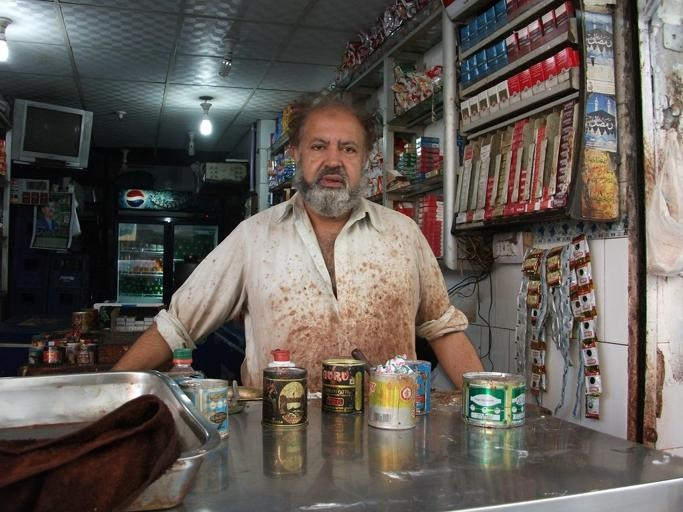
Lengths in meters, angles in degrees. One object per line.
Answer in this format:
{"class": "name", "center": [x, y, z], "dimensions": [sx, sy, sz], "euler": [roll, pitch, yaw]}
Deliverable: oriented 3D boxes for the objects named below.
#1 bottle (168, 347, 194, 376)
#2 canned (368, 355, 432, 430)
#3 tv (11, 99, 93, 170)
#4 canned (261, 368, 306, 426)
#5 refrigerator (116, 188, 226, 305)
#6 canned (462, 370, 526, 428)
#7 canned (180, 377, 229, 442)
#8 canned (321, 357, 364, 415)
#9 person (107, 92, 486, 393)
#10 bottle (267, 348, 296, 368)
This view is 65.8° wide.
{"class": "bottle", "center": [-0.488, 0.320, 1.617], "dimensions": [0.084, 0.098, 0.086], "euler": [1, -7, -6]}
{"class": "canned", "center": [0.210, 0.397, 1.492], "dimensions": [0.219, 0.195, 0.126], "euler": [9, -12, -39]}
{"class": "tv", "center": [-3.618, -1.524, 6.794], "dimensions": [0.931, 0.794, 0.500], "euler": [7, 3, -3]}
{"class": "canned", "center": [-0.161, 0.394, 1.481], "dimensions": [0.141, 0.157, 0.143], "euler": [-5, -8, 37]}
{"class": "refrigerator", "center": [-3.506, -0.113, 10.594], "dimensions": [1.986, 2.965, 0.976], "euler": [1, 41, -20]}
{"class": "canned", "center": [0.463, 0.426, 1.568], "dimensions": [0.169, 0.119, 0.175], "euler": [-4, -22, 10]}
{"class": "canned", "center": [-0.377, 0.417, 1.409], "dimensions": [0.122, 0.137, 0.124], "euler": [-1, -20, -14]}
{"class": "canned", "center": [0.006, 0.395, 1.612], "dimensions": [0.141, 0.159, 0.145], "euler": [0, -3, 5]}
{"class": "person", "center": [-0.088, -0.078, 2.239], "dimensions": [1.354, 0.923, 0.643], "euler": [6, 3, -8]}
{"class": "bottle", "center": [-0.192, 0.294, 1.581], "dimensions": [0.085, 0.054, 0.087], "euler": [0, -5, 0]}
